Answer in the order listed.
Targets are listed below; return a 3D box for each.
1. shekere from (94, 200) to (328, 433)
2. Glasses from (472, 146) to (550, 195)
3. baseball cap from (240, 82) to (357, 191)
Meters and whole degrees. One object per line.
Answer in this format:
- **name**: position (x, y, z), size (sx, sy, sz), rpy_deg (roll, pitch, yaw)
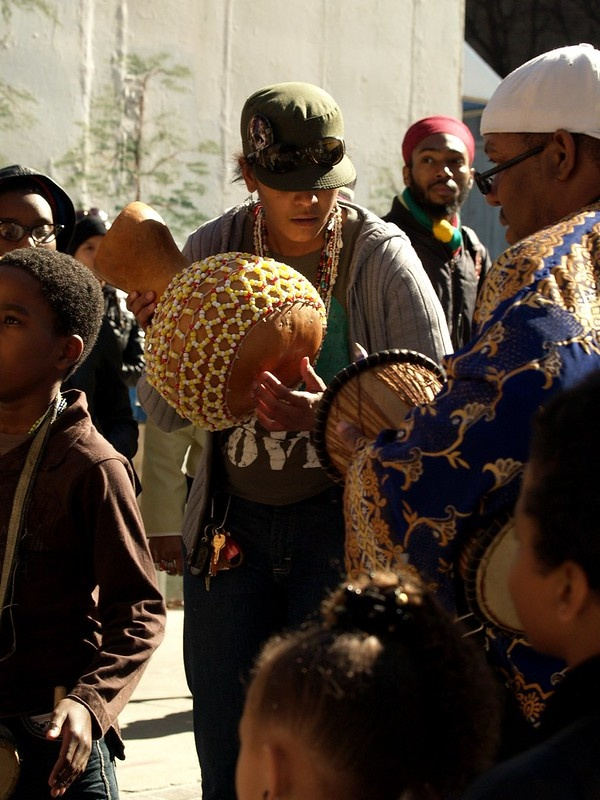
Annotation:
- **shekere**: position (-0.298, -0.249, 2.590), size (0.748, 0.348, 0.556), rpy_deg (31, 26, 37)
- **Glasses**: position (0.528, -0.565, 2.219), size (0.208, 0.046, 0.179), rpy_deg (-23, 8, 5)
- **baseball cap**: position (-0.019, -0.828, 2.759), size (0.377, 0.207, 0.403), rpy_deg (-13, 49, -21)
